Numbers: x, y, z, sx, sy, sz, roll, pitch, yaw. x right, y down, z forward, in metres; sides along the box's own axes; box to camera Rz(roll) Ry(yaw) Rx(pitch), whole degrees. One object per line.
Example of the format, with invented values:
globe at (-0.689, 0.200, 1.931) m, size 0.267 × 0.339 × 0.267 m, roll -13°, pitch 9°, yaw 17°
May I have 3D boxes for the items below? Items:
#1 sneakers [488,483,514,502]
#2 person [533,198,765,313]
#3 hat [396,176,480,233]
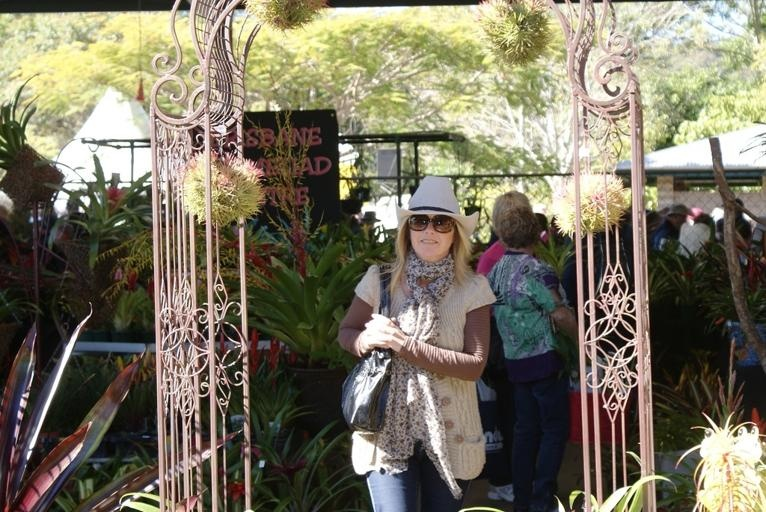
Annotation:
sneakers at (0.892, 1.790, 8.080) m, size 0.159 × 0.073 × 0.173 m, roll 0°, pitch 4°, yaw -2°
person at (1.767, -0.011, 8.645) m, size 1.112 × 0.623 × 1.195 m, roll -1°, pitch -7°, yaw 0°
hat at (0.397, -0.415, 8.286) m, size 0.641 × 0.367 × 0.823 m, roll 7°, pitch -15°, yaw 6°
